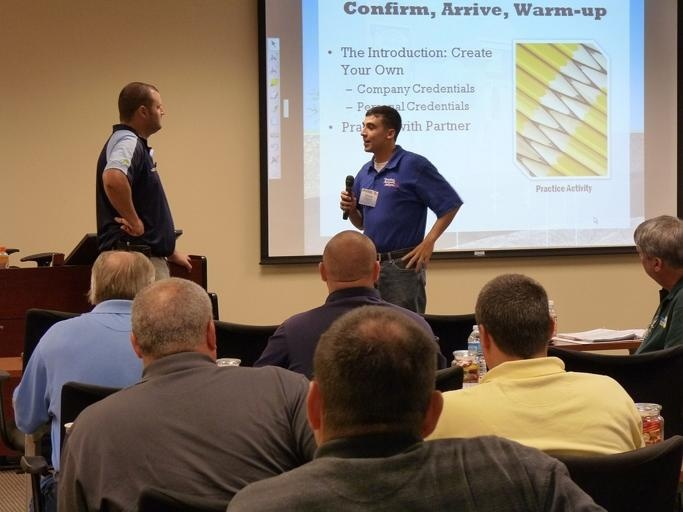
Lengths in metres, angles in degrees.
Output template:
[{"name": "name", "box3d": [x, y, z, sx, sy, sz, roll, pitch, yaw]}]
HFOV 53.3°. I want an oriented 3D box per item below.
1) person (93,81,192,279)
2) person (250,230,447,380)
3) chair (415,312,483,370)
[{"name": "person", "box3d": [-1.117, -0.426, 3.824, 0.492, 1.120, 0.353, -3, 0, -22]}, {"name": "person", "box3d": [0.026, 0.183, 2.833, 0.852, 0.680, 0.463, -4, 23, 3]}, {"name": "chair", "box3d": [0.530, 0.382, 3.237, 0.212, 0.284, 0.240, 0, 4, 6]}]
